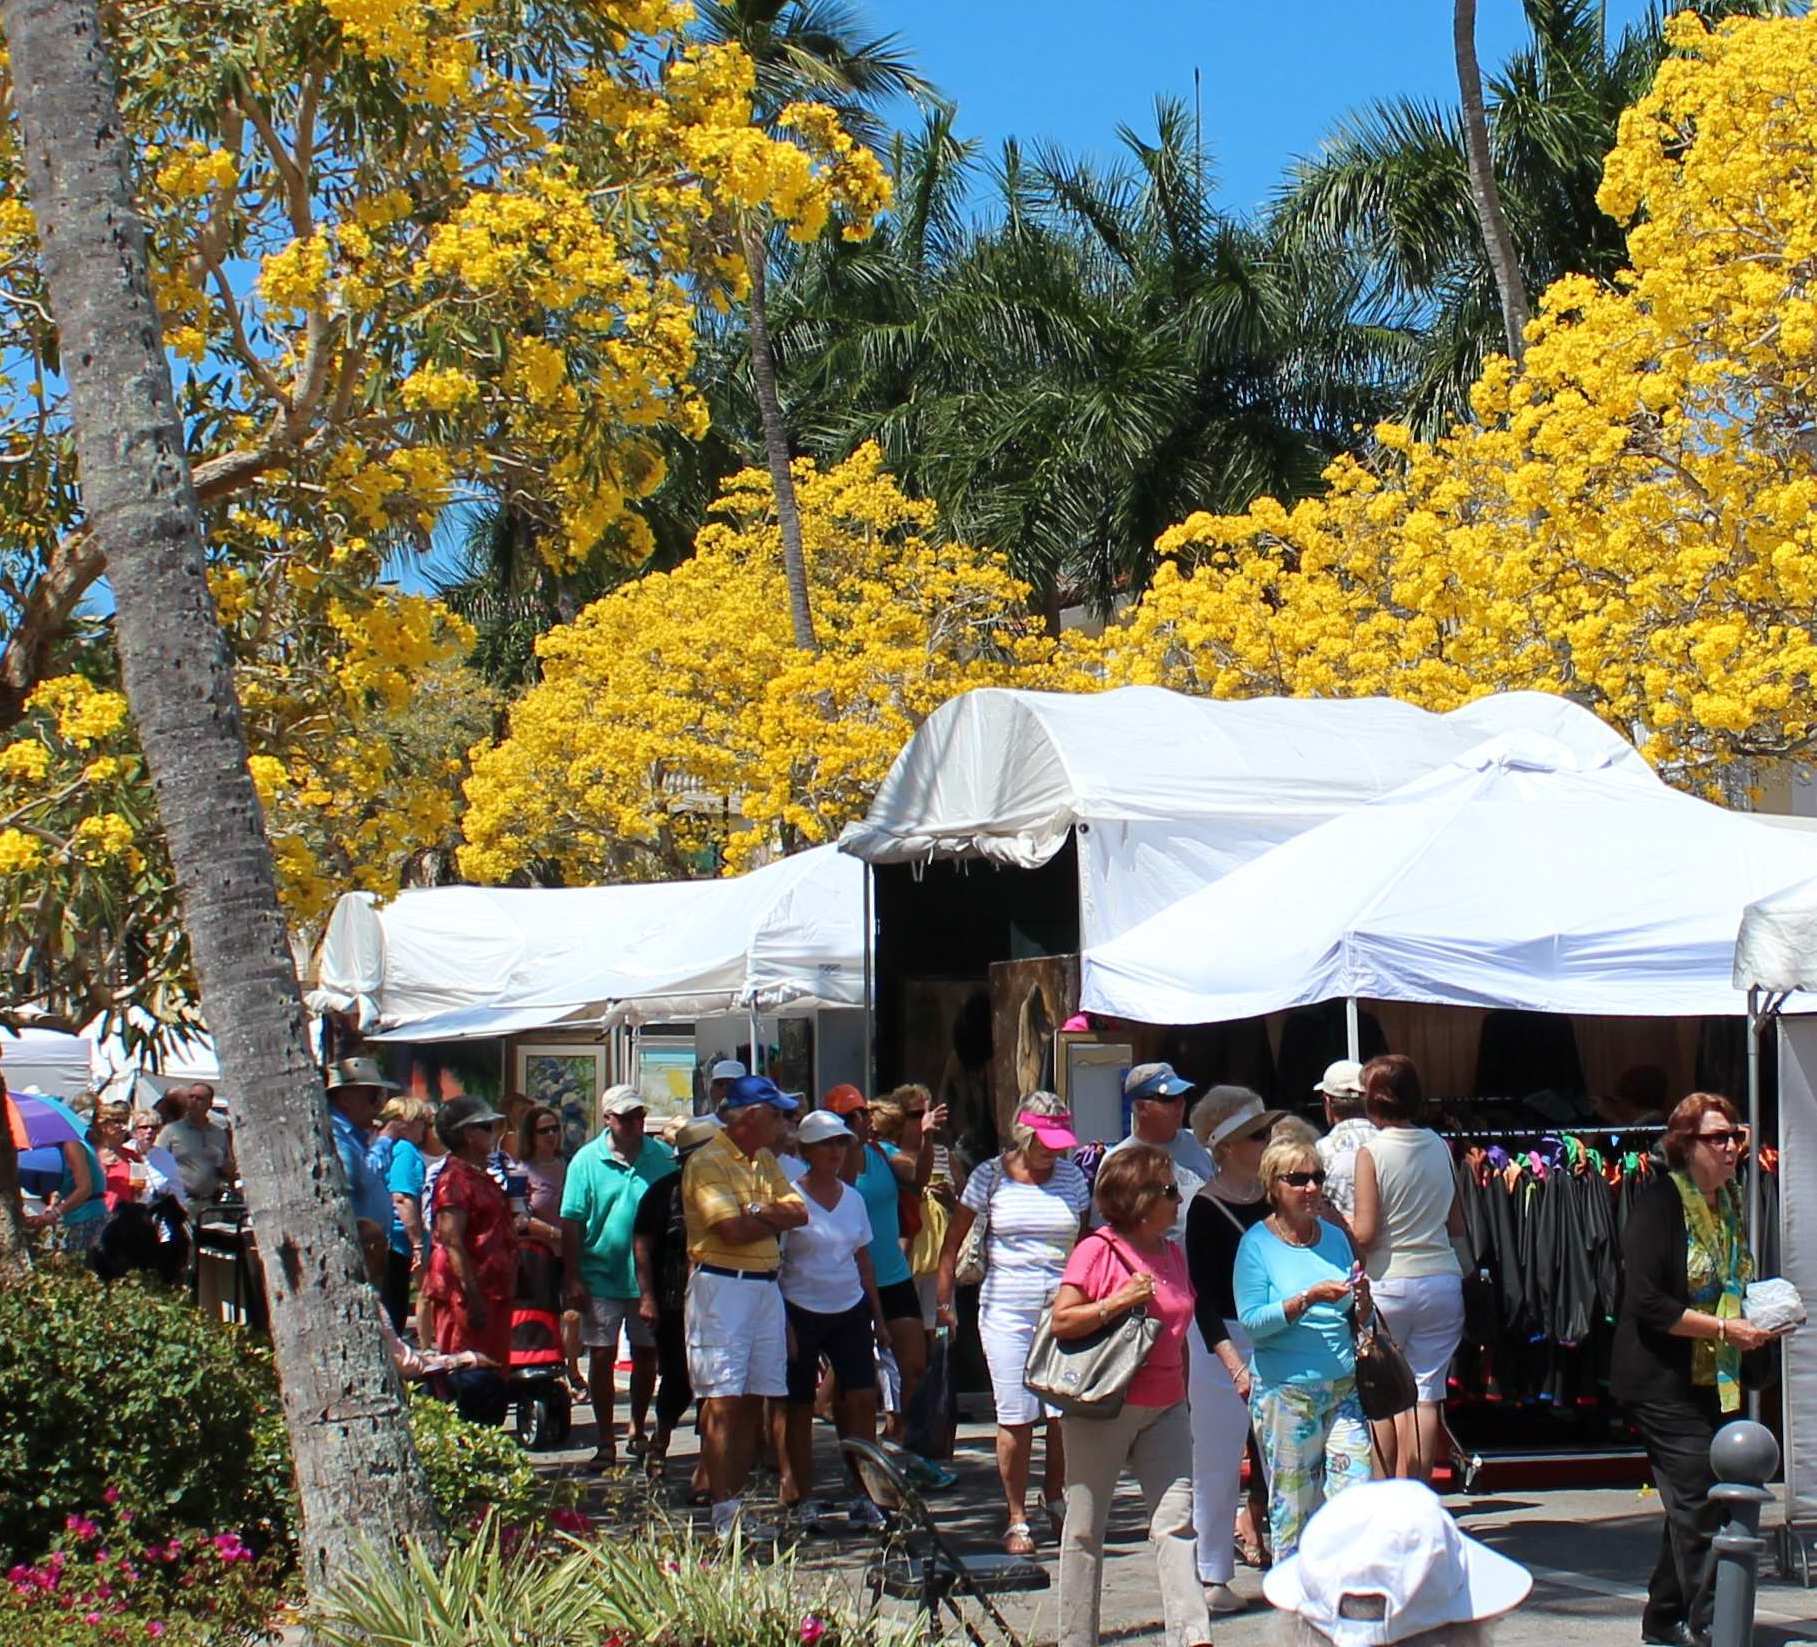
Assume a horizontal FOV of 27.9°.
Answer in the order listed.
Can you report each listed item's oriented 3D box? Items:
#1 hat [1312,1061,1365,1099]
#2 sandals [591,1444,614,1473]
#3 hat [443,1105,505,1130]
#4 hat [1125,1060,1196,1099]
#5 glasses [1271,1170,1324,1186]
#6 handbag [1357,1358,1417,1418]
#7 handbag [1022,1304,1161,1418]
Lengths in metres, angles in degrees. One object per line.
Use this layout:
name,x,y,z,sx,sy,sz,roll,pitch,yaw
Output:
hat,2.040,1.225,17.625,0.347,0.176,0.482,-1,-8,4
sandals,-1.607,3.321,19.110,0.089,0.142,0.150,1,-26,3
hat,-2.296,1.532,19.109,0.296,0.082,0.306,-5,-8,19
hat,1.038,1.104,15.818,0.207,0.106,0.158,-1,0,12
glasses,1.551,1.418,14.661,0.212,0.073,0.096,-2,-5,-25
handbag,1.855,2.237,14.521,0.222,0.300,0.162,-6,12,10
handbag,0.652,1.979,14.115,0.478,0.187,0.536,8,-47,-11
